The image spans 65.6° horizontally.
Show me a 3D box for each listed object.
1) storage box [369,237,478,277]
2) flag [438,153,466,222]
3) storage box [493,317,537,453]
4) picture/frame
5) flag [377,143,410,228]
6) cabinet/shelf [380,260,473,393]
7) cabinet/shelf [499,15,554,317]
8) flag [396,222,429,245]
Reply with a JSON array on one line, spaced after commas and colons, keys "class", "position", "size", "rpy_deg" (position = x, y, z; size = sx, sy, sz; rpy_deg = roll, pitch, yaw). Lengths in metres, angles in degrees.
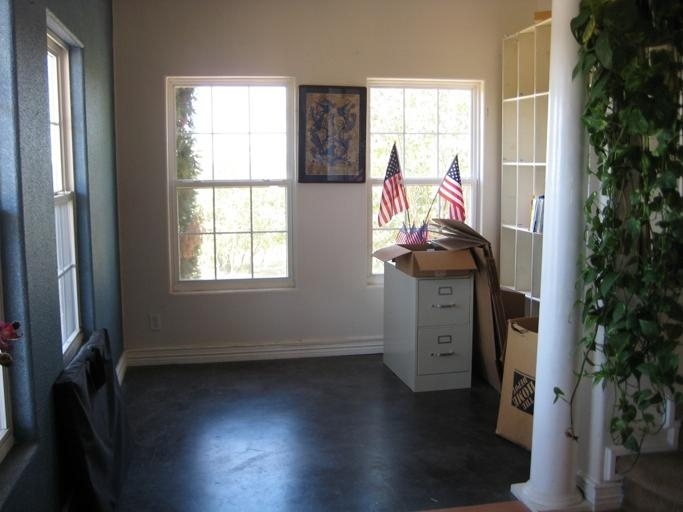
[{"class": "storage box", "position": [0.736, 0.003, 4.306], "size": [0.440, 0.123, 0.421], "rpy_deg": [-4, 13, -17]}, {"class": "flag", "position": [1.006, -0.612, 4.831], "size": [0.246, 0.571, 0.198], "rpy_deg": [3, 11, 17]}, {"class": "storage box", "position": [1.158, 0.856, 3.525], "size": [0.184, 0.774, 0.378], "rpy_deg": [-1, 11, -3]}, {"class": "picture/frame", "position": [-0.119, -1.146, 4.896], "size": [0.770, 1.151, 0.040], "rpy_deg": [-2, 9, -12]}, {"class": "flag", "position": [0.479, -0.657, 4.913], "size": [0.263, 0.742, 0.274], "rpy_deg": [1, 11, 7]}, {"class": "cabinet/shelf", "position": [0.778, 0.539, 4.586], "size": [0.490, 0.952, 0.828], "rpy_deg": [-1, 11, -3]}, {"class": "cabinet/shelf", "position": [1.643, -0.741, 4.765], "size": [0.287, 2.509, 0.923], "rpy_deg": [-1, 11, -6]}, {"class": "flag", "position": [0.636, -0.191, 4.734], "size": [0.188, 0.216, 0.029], "rpy_deg": [3, 16, 17]}]
